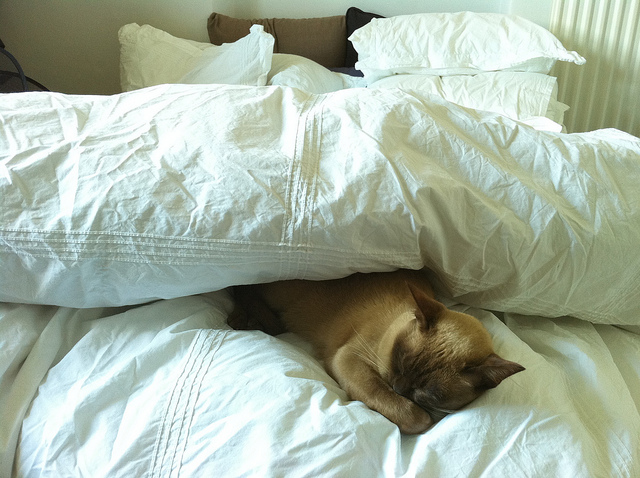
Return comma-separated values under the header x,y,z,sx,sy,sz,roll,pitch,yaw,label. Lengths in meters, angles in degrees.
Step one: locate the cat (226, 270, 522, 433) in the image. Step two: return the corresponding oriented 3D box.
x,y,z,sx,sy,sz,roll,pitch,yaw,label
0.100,0.204,1.215,0.331,0.195,0.472,18,19,-45,cat
